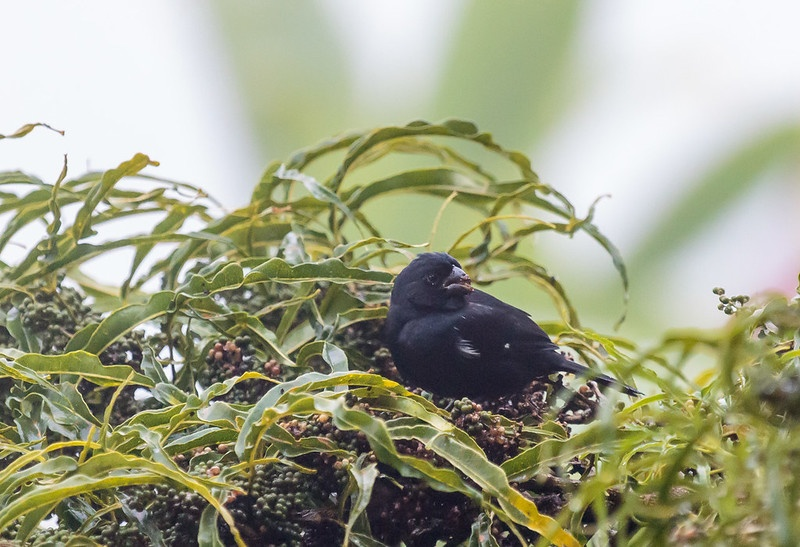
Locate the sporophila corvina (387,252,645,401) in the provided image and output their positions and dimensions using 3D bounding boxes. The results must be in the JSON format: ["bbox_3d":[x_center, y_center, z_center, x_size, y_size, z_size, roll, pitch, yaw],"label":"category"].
[{"bbox_3d":[0.372,0.213,3.975,0.913,0.530,0.400,2,8,-19],"label":"sporophila corvina"}]

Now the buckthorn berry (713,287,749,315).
[{"bbox_3d":[0.827,0.074,2.889,0.058,0.019,0.057,28,-27,-37],"label":"buckthorn berry"}]
